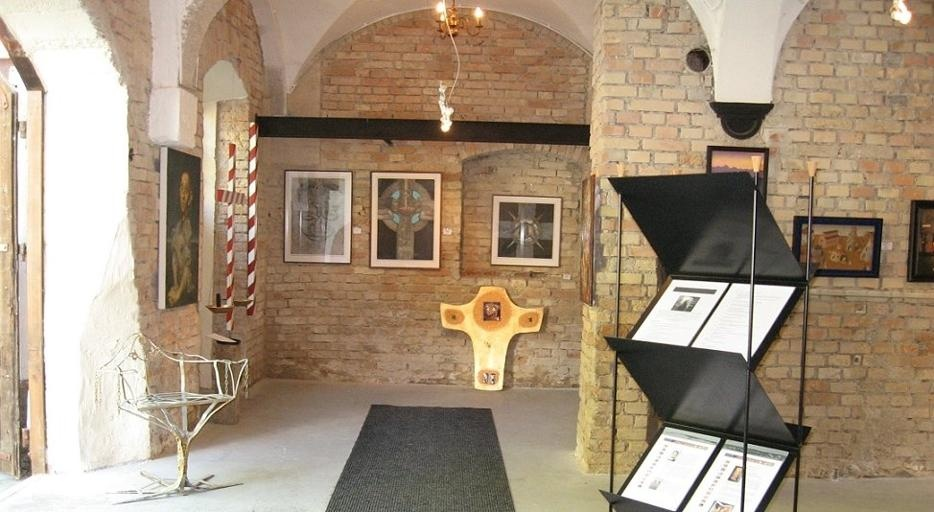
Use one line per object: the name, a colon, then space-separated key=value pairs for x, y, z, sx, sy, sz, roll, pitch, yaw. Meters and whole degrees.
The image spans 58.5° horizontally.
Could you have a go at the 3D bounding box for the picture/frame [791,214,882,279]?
picture/frame: x=3.979 y=-0.096 z=8.961 sx=0.873 sy=0.533 sz=0.057 roll=1 pitch=-1 yaw=-5

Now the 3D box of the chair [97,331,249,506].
chair: x=-3.329 y=1.868 z=9.311 sx=1.945 sy=1.539 sz=1.262 roll=5 pitch=5 yaw=15
